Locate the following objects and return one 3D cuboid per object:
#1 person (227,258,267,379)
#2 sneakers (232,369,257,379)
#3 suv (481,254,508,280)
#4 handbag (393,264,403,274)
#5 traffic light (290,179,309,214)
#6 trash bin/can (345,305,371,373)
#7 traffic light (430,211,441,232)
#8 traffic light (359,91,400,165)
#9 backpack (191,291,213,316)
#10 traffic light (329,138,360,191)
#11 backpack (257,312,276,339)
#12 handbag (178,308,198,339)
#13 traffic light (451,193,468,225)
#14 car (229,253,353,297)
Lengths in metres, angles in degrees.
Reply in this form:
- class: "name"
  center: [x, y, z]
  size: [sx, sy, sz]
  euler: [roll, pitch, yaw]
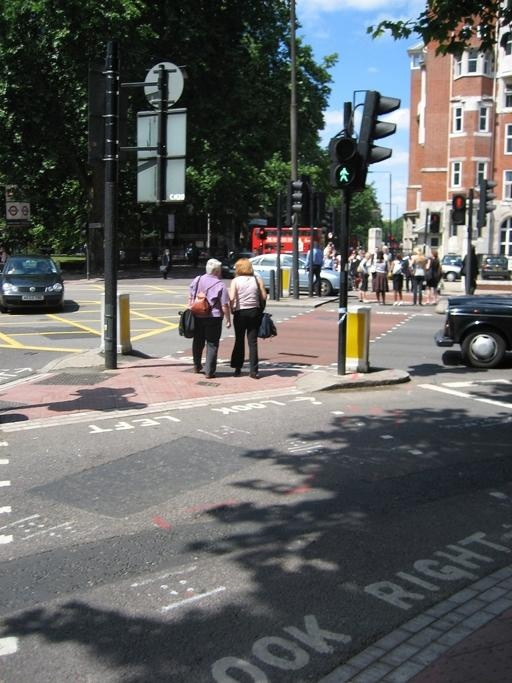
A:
- class: "person"
  center: [-0.123, -0.326, 10.541]
  size: [0.473, 1.593, 0.518]
  euler: [1, 6, -1]
- class: "sneakers"
  center: [-0.141, 0.436, 10.565]
  size: [0.381, 0.158, 0.116]
  euler: [-3, 1, 29]
- class: "suv"
  center: [13.386, -4.107, 43.298]
  size: [1.117, 0.999, 1.983]
  euler: [3, 16, 16]
- class: "handbag"
  center: [4.458, -2.304, 24.374]
  size: [0.295, 0.374, 0.206]
  euler: [1, -25, 8]
- class: "traffic light"
  center: [1.178, -4.026, 21.272]
  size: [0.480, 0.981, 0.618]
  euler: [2, 6, 12]
- class: "trash bin/can"
  center: [1.373, -0.028, 10.565]
  size: [0.287, 0.901, 0.238]
  euler: [1, 6, 4]
- class: "traffic light"
  center: [5.549, -3.752, 24.161]
  size: [0.270, 0.626, 1.041]
  euler: [2, 6, 11]
- class: "traffic light"
  center: [1.478, -2.597, 9.392]
  size: [0.469, 0.841, 0.631]
  euler: [2, 6, 7]
- class: "backpack"
  center: [-0.703, -0.506, 10.283]
  size: [0.267, 0.268, 0.152]
  euler: [9, 22, 22]
- class: "traffic light"
  center: [1.103, -2.258, 9.643]
  size: [0.382, 0.686, 0.464]
  euler: [1, 6, -2]
- class: "backpack"
  center: [0.161, -0.319, 10.634]
  size: [0.284, 0.551, 0.559]
  euler: [-1, 6, 2]
- class: "handbag"
  center: [-0.921, -0.257, 10.532]
  size: [0.208, 0.408, 0.461]
  euler: [0, 6, -5]
- class: "traffic light"
  center: [4.829, -3.206, 18.517]
  size: [0.348, 0.744, 1.079]
  euler: [2, 6, 13]
- class: "car"
  center: [1.404, -2.409, 28.368]
  size: [3.580, 1.145, 1.593]
  euler: [0, 10, 6]
